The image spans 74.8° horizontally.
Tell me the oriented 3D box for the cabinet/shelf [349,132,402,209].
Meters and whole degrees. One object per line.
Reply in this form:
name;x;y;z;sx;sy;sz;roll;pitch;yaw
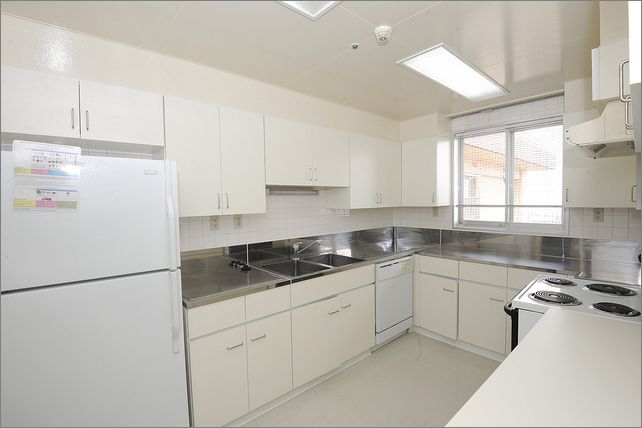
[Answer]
cabinet/shelf;0.606;-0.496;4.881;0.942;0.821;0.356;-1;3;-43

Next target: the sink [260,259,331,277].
sink;-0.212;0.561;4.286;0.319;0.123;0.316;-3;4;-41
